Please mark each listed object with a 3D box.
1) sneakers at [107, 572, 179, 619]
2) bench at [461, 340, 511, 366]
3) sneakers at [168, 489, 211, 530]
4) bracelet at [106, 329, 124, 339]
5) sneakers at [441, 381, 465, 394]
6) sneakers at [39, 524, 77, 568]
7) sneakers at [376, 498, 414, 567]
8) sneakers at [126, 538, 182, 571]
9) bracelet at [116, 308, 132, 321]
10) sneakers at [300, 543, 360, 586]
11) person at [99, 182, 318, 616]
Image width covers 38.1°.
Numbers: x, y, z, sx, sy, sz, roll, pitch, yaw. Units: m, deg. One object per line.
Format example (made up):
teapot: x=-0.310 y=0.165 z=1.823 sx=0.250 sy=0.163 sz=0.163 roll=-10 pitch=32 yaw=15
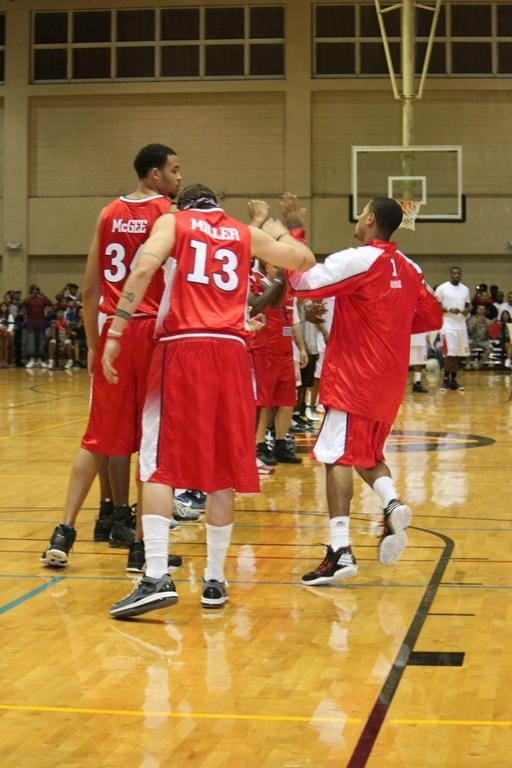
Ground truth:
sneakers: x=-0.386 y=0.755 z=2.611 sx=0.330 sy=0.139 sz=0.113 roll=-22 pitch=-37 yaw=33
bench: x=6.197 y=-0.789 z=19.660 sx=1.386 sy=0.681 sz=1.275 roll=0 pitch=0 yaw=8
sneakers: x=-0.431 y=0.782 z=4.702 sx=0.435 sy=0.163 sz=0.146 roll=-8 pitch=-8 yaw=43
bracelet: x=-0.520 y=-0.181 z=2.695 sx=0.040 sy=0.026 sz=0.040 roll=2 pitch=2 yaw=39
sneakers: x=4.033 y=0.087 z=14.736 sx=0.605 sy=0.213 sz=0.192 roll=0 pitch=2 yaw=-2
sneakers: x=-0.876 y=0.720 z=3.301 sx=0.106 sy=0.125 sz=0.273 roll=12 pitch=-25 yaw=-7
sneakers: x=0.567 y=0.633 z=3.136 sx=0.122 sy=0.276 sz=0.123 roll=5 pitch=14 yaw=-20
sneakers: x=-0.458 y=0.779 z=3.447 sx=0.110 sy=0.122 sz=0.298 roll=1 pitch=1 yaw=8
bracelet: x=-0.470 y=-0.247 z=2.653 sx=0.043 sy=0.026 sz=0.042 roll=25 pitch=-7 yaw=23
sneakers: x=0.378 y=0.779 z=3.208 sx=0.339 sy=0.168 sz=0.107 roll=-9 pitch=-7 yaw=-12
person: x=-0.186 y=0.033 z=2.799 sx=0.764 sy=1.667 sz=0.330 roll=0 pitch=-1 yaw=-28
